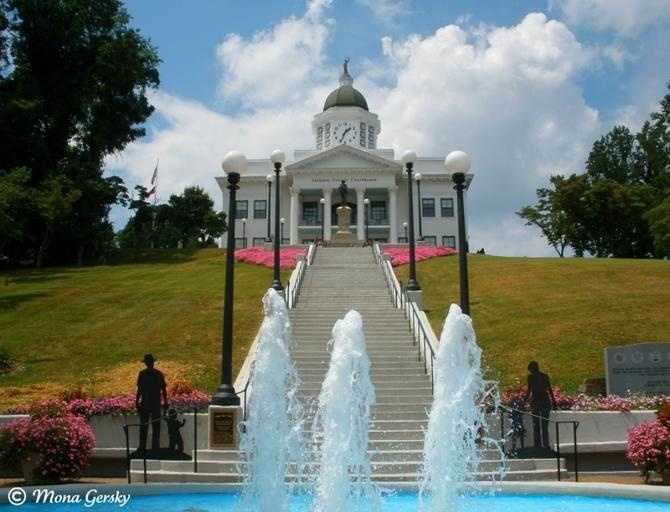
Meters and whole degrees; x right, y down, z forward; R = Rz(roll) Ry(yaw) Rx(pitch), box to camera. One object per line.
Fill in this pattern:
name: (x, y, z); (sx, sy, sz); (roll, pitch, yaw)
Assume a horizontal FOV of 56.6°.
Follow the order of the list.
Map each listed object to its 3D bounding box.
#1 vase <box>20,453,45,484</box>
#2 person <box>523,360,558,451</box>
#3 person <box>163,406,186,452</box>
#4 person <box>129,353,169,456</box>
vase: (-7.268, 5.095, 14.869); (0.670, 0.727, 0.277); (-8, -14, 29)
person: (5.220, 3.800, 15.760); (0.676, 2.171, 1.024); (-11, -15, 40)
person: (-3.984, 4.387, 15.520); (0.493, 1.073, 0.703); (2, -12, -15)
person: (-4.558, 3.669, 15.498); (0.743, 2.337, 0.877); (5, -14, -28)
